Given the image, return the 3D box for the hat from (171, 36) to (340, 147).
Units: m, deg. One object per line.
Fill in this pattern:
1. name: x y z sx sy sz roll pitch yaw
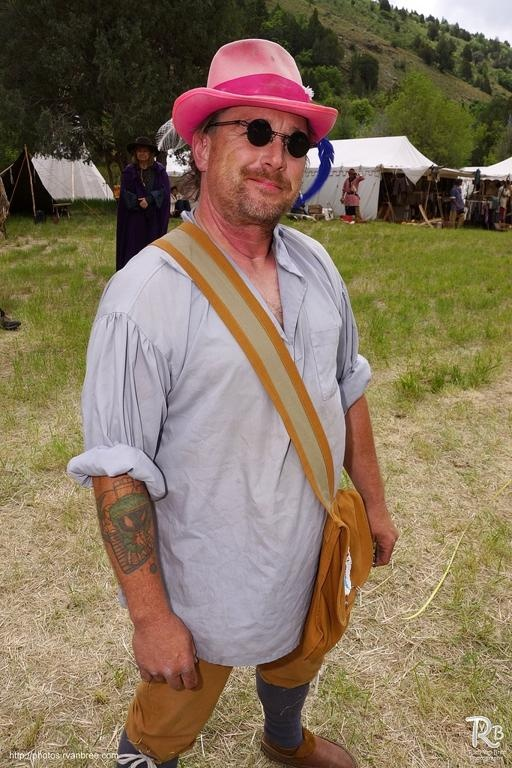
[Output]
1. hat: -0.009 -0.639 1.461 0.285 0.132 0.269 1 4 24
